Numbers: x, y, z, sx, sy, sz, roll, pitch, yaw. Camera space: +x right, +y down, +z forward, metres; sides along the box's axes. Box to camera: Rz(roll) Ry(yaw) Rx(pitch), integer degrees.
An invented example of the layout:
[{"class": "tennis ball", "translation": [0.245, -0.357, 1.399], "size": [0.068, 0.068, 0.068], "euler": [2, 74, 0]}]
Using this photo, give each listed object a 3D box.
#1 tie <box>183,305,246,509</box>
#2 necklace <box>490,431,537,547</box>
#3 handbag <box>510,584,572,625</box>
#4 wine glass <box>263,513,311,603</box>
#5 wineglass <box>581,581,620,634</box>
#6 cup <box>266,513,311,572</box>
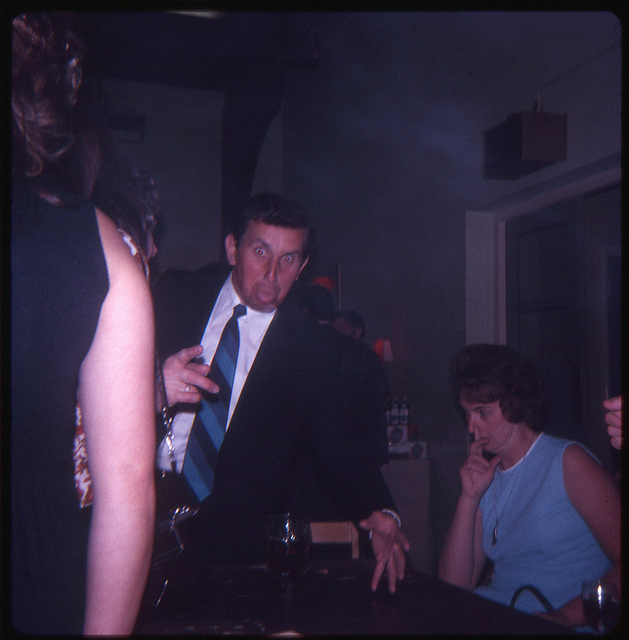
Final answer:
[{"class": "tie", "translation": [-0.385, 0.322, 2.697], "size": [0.175, 0.983, 0.065], "euler": [12, -27, -20]}, {"class": "necklace", "translation": [0.619, 0.520, 2.196], "size": [0.103, 0.413, 0.019], "euler": [8, -25, 30]}, {"class": "handbag", "translation": [0.575, 0.734, 1.722], "size": [0.035, 0.119, 0.127], "euler": [-35, 41, -28]}, {"class": "wine glass", "translation": [-0.064, 0.562, 1.663], "size": [0.113, 0.152, 0.289], "euler": [1, 1, -4]}, {"class": "wineglass", "translation": [0.652, 0.658, 1.546], "size": [0.080, 0.106, 0.069], "euler": [2, 2, 22]}, {"class": "cup", "translation": [-0.064, 0.532, 1.670], "size": [0.082, 0.157, 0.129], "euler": [2, -10, -8]}]
